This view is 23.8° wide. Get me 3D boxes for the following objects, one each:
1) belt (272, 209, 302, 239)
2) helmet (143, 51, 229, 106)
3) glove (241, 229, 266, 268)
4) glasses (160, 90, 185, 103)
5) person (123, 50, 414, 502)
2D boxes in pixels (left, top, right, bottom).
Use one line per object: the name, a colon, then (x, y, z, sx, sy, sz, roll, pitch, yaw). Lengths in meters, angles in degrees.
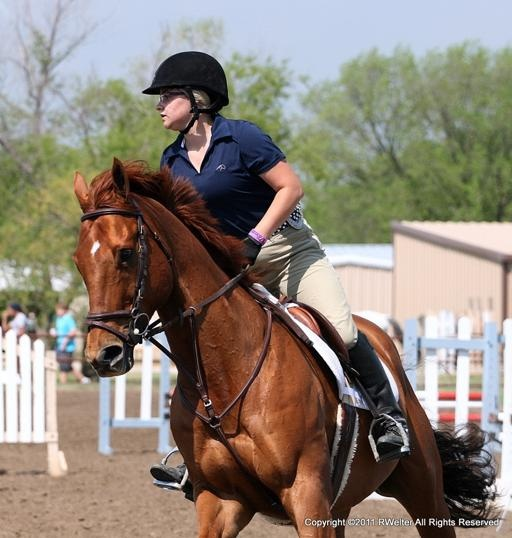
belt: (0.236, -0.268, 7.166, 0.175, 0.152, 0.136, -33, 26, -33)
helmet: (-0.408, -1.110, 7.077, 0.540, 0.276, 0.355, 4, 3, -5)
glove: (-0.011, -0.103, 6.794, 0.079, 0.142, 0.191, 22, 44, 17)
glasses: (-0.487, -0.966, 6.930, 0.164, 0.071, 0.055, 3, 0, 25)
person: (-0.086, 0.019, 7.094, 1.594, 2.525, 0.847, -3, -19, -16)
